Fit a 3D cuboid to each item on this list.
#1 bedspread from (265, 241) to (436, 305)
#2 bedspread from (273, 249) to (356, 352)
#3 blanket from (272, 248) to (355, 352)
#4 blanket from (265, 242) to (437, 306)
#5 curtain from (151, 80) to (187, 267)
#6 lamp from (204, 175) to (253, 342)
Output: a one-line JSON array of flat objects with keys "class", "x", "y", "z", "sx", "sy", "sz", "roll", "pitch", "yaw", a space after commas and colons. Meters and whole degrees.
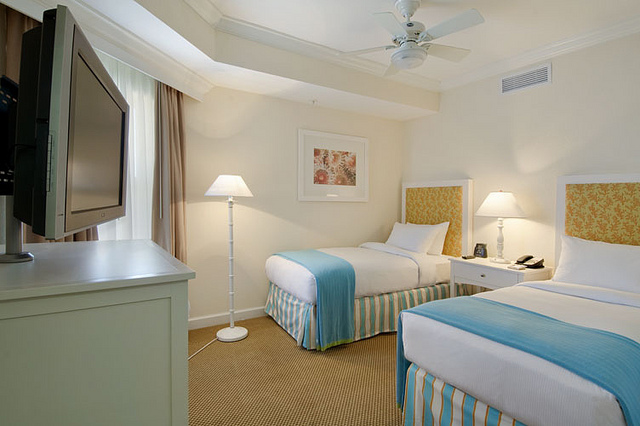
[{"class": "bedspread", "x": 0.460, "y": 0.646, "z": 4.935, "sx": 1.726, "sy": 0.439, "sz": 1.266, "roll": 0, "pitch": 4, "yaw": -40}, {"class": "bedspread", "x": -0.134, "y": 0.863, "z": 4.327, "sx": 0.648, "sy": 0.793, "sz": 0.848, "roll": 2, "pitch": 1, "yaw": -20}, {"class": "blanket", "x": -0.038, "y": 0.890, "z": 4.365, "sx": 0.652, "sy": 0.787, "sz": 0.860, "roll": 2, "pitch": 1, "yaw": -20}, {"class": "blanket", "x": 0.433, "y": 0.703, "z": 5.111, "sx": 2.133, "sy": 0.525, "sz": 1.665, "roll": -2, "pitch": 1, "yaw": -30}, {"class": "curtain", "x": -1.442, "y": -0.386, "z": 3.986, "sx": 0.211, "sy": 1.852, "sz": 0.526, "roll": 1, "pitch": 1, "yaw": 2}, {"class": "lamp", "x": -0.923, "y": 0.470, "z": 4.380, "sx": 0.334, "sy": 1.714, "sz": 0.499, "roll": 5, "pitch": 5, "yaw": -4}]
